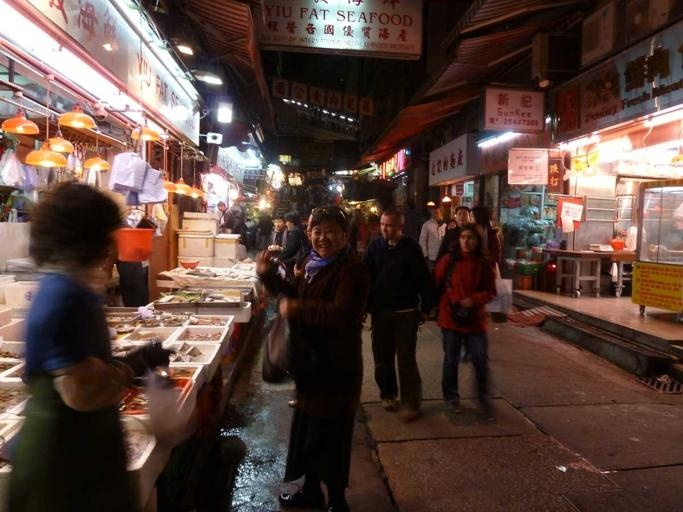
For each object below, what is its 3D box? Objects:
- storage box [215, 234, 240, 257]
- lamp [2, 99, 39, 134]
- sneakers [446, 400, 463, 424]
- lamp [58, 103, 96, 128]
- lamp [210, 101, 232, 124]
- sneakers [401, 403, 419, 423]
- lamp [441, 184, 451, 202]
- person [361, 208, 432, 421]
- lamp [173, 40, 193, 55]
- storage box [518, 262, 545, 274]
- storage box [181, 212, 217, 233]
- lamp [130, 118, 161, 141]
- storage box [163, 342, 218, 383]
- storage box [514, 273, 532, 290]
[{"bbox_3d":[-2.025,-0.148,9.183,0.455,0.457,0.368,0,-3,-5],"label":"storage box"},{"bbox_3d":[-3.462,-1.476,5.483,0.304,0.290,0.528,-5,12,-26],"label":"lamp"},{"bbox_3d":[1.143,1.582,5.196,0.126,0.063,0.195,1,44,6],"label":"sneakers"},{"bbox_3d":[-2.795,-1.483,5.393,0.304,0.228,0.469,-4,12,-22],"label":"lamp"},{"bbox_3d":[-2.684,-3.284,11.585,0.353,0.470,0.625,-3,11,-17],"label":"lamp"},{"bbox_3d":[0.693,1.586,5.149,0.155,0.116,0.153,1,-12,-2],"label":"sneakers"},{"bbox_3d":[3.270,-1.954,16.005,0.248,0.579,0.931,2,11,7],"label":"lamp"},{"bbox_3d":[0.546,0.566,5.271,0.715,2.049,0.517,6,12,29],"label":"person"},{"bbox_3d":[-2.666,-3.473,8.509,0.359,0.145,0.498,10,9,-30],"label":"lamp"},{"bbox_3d":[3.814,0.249,10.553,0.299,0.202,0.294,0,-1,-11],"label":"storage box"},{"bbox_3d":[-2.475,-0.580,8.941,0.412,0.256,0.417,0,0,9],"label":"storage box"},{"bbox_3d":[-2.485,-1.549,6.520,0.310,0.221,0.313,1,-4,9],"label":"lamp"},{"bbox_3d":[-1.330,0.903,4.566,0.341,0.138,0.409,2,3,-2],"label":"storage box"},{"bbox_3d":[3.773,0.520,10.635,0.257,0.352,0.479,-1,0,-1],"label":"storage box"}]
